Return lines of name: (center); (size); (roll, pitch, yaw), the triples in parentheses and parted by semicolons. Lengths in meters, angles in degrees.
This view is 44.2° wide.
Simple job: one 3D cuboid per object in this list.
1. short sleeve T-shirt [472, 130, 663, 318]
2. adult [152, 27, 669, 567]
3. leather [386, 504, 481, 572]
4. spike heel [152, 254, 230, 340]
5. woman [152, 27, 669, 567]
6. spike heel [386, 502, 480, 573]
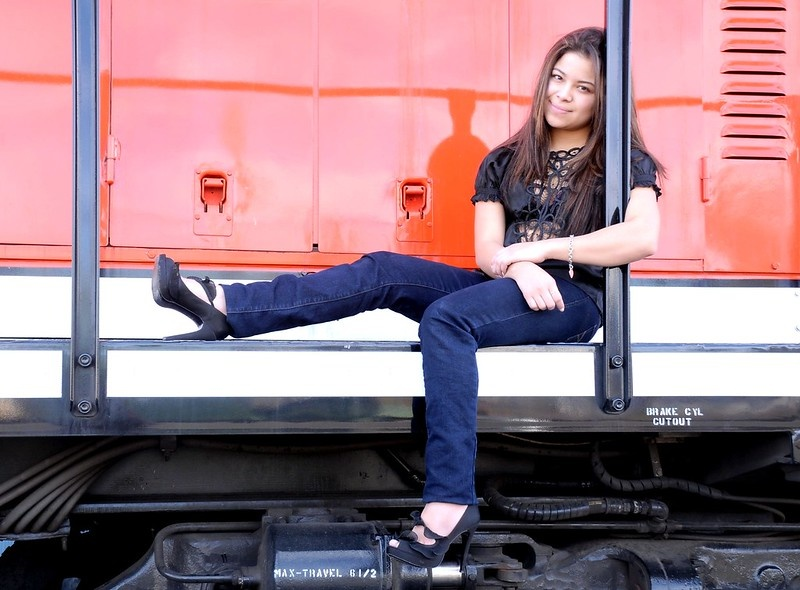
short sleeve T-shirt: (0.572, -0.424, 3.687); (0.612, 0.376, 0.626); (6, -20, 6)
adult: (0.071, -0.112, 3.470); (1.660, 1.989, 0.812); (8, -8, -13)
leather: (0.102, 0.794, 3.258); (0.291, 0.236, 0.177); (6, -10, -3)
spike heel: (-0.727, -0.001, 3.423); (0.111, 0.183, 0.389); (4, -9, 25)
woman: (0.096, -0.113, 3.434); (1.630, 1.966, 0.807); (8, -7, -14)
spike heel: (0.103, 0.796, 3.258); (0.290, 0.235, 0.178); (6, -9, -3)
